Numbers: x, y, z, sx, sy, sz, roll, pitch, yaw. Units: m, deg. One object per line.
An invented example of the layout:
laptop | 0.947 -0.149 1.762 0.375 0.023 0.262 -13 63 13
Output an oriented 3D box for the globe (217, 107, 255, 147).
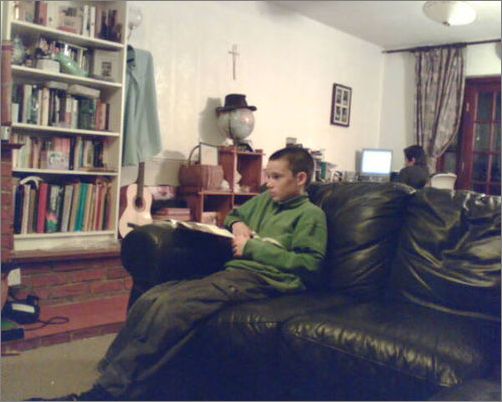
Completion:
globe | -0.153 -0.772 4.470 0.371 0.401 0.383 3 9 -4
